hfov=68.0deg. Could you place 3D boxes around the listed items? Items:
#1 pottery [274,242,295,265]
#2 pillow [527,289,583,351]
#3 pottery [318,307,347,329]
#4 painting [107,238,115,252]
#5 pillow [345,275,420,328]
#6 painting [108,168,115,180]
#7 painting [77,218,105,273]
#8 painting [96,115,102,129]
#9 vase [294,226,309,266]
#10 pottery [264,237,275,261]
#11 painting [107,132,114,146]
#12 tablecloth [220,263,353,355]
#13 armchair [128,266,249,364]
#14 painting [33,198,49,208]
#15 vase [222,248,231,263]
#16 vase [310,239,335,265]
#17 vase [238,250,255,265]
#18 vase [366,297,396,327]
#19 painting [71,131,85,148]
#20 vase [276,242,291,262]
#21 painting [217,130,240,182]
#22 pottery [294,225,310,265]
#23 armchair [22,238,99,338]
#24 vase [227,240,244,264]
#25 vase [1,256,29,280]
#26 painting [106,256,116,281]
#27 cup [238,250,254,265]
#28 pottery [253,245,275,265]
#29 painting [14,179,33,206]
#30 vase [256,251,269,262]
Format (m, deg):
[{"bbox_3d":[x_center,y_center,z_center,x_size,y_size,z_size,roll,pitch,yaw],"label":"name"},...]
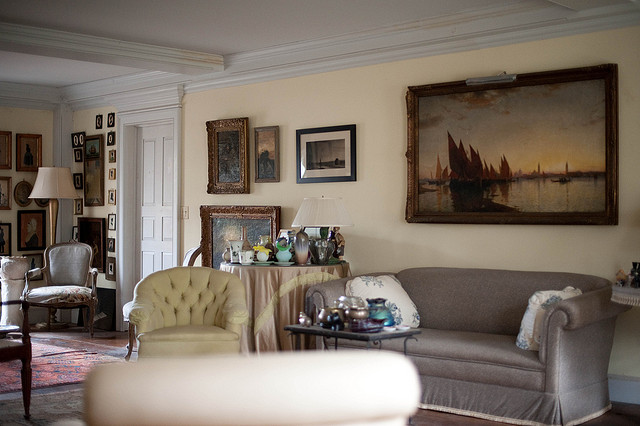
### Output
[{"bbox_3d":[-0.393,0.462,5.290,0.210,0.185,0.202,0,-1,-19],"label":"pottery"},{"bbox_3d":[1.846,0.896,4.018,0.474,0.540,0.218,0,19,-25],"label":"pillow"},{"bbox_3d":[0.105,0.846,3.895,0.197,0.120,0.175,-2,-4,25],"label":"pottery"},{"bbox_3d":[-3.389,0.509,7.702,0.246,0.268,0.032,-1,-5,40],"label":"painting"},{"bbox_3d":[0.592,0.894,4.736,0.585,0.557,0.172,-4,-36,-47],"label":"pillow"},{"bbox_3d":[-3.377,-0.640,7.706,0.144,0.185,0.028,-1,-3,44],"label":"painting"},{"bbox_3d":[-3.713,0.539,7.748,0.914,0.995,0.046,-4,-5,41],"label":"painting"},{"bbox_3d":[-3.665,-1.518,7.877,0.247,0.314,0.033,2,1,42],"label":"painting"},{"bbox_3d":[-0.187,0.376,5.178,0.157,0.375,0.239,2,-3,-16],"label":"vase"},{"bbox_3d":[-0.555,0.423,5.370,0.066,0.170,0.138,5,-2,-14],"label":"pottery"},{"bbox_3d":[-3.404,-1.217,7.719,0.247,0.321,0.023,1,-1,38],"label":"painting"},{"bbox_3d":[-0.347,0.959,5.468,1.190,1.069,1.116,2,-4,-36],"label":"tablecloth"},{"bbox_3d":[-1.201,0.882,4.371,1.040,0.741,0.616,1,-2,-9],"label":"armchair"},{"bbox_3d":[-4.770,-0.175,8.142,0.228,0.150,0.110,2,-3,-17],"label":"painting"},{"bbox_3d":[-1.107,0.504,5.699,0.131,0.175,0.066,-3,-13,19],"label":"vase"},{"bbox_3d":[0.029,0.420,5.192,0.267,0.271,0.119,1,-2,-8],"label":"vase"},{"bbox_3d":[-0.808,0.490,5.286,0.134,0.115,0.168,-5,-10,37],"label":"vase"},{"bbox_3d":[0.497,0.805,3.909,0.221,0.201,0.212,-1,3,-5],"label":"vase"},{"bbox_3d":[-4.152,-1.263,8.152,0.324,0.279,0.105,-1,-3,38],"label":"painting"},{"bbox_3d":[-0.395,0.448,5.297,0.164,0.203,0.158,1,-3,2],"label":"vase"},{"bbox_3d":[-1.244,-0.775,6.455,0.368,0.686,0.054,0,-3,29],"label":"painting"},{"bbox_3d":[-0.184,0.351,5.246,0.241,0.415,0.236,1,6,23],"label":"pottery"},{"bbox_3d":[-4.051,1.137,7.455,0.896,1.409,1.532,2,-3,-28],"label":"armchair"},{"bbox_3d":[-0.933,0.441,5.347,0.230,0.243,0.224,1,1,-4],"label":"vase"},{"bbox_3d":[-4.495,0.791,6.997,0.346,0.314,0.319,6,-10,-29],"label":"vase"},{"bbox_3d":[-3.383,0.900,7.686,0.039,0.510,0.425,3,-3,-44],"label":"painting"},{"bbox_3d":[-0.806,0.487,5.285,0.130,0.114,0.166,-6,-10,40],"label":"cup"},{"bbox_3d":[-0.626,0.467,5.207,0.196,0.166,0.188,1,-8,-2],"label":"pottery"},{"bbox_3d":[-4.970,-0.347,7.972,0.404,0.509,0.024,1,2,12],"label":"painting"},{"bbox_3d":[-0.632,0.472,5.194,0.108,0.105,0.107,2,-3,-4],"label":"vase"}]
